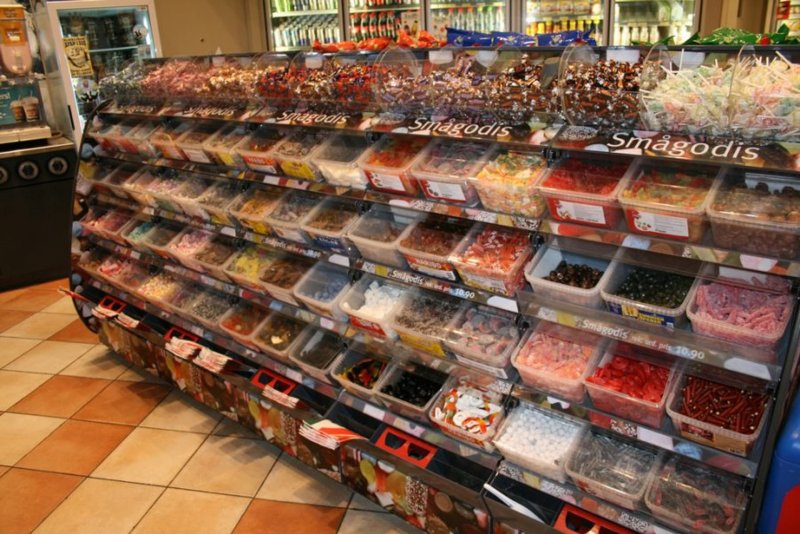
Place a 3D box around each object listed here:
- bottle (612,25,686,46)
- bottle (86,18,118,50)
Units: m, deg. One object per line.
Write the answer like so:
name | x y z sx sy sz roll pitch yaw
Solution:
bottle | 3.164 -2.974 5.912 0.840 0.235 0.183 8 28 23
bottle | -3.897 -3.068 6.111 0.082 0.361 0.357 17 32 35
